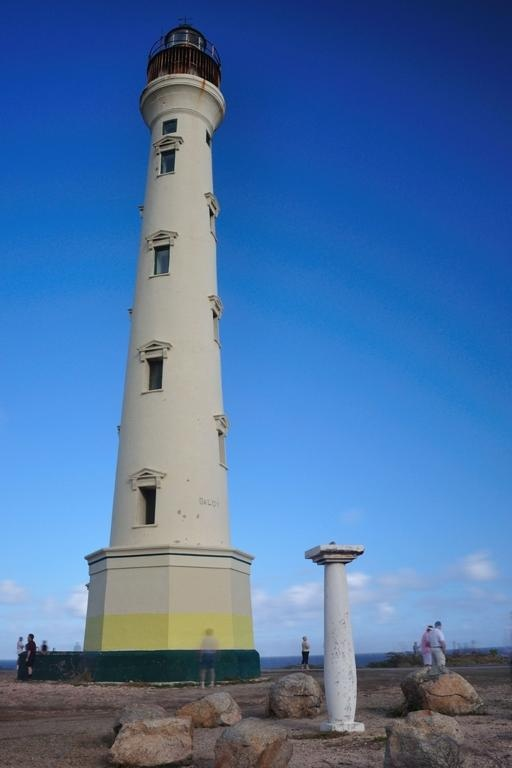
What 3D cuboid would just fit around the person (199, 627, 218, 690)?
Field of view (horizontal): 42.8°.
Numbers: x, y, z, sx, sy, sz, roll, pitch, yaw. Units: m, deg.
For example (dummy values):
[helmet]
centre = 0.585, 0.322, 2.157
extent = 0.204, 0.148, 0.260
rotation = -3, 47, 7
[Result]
[person]
centre = -1.466, 8.332, 20.112
extent = 0.531, 1.498, 1.140
rotation = -2, -18, -2
